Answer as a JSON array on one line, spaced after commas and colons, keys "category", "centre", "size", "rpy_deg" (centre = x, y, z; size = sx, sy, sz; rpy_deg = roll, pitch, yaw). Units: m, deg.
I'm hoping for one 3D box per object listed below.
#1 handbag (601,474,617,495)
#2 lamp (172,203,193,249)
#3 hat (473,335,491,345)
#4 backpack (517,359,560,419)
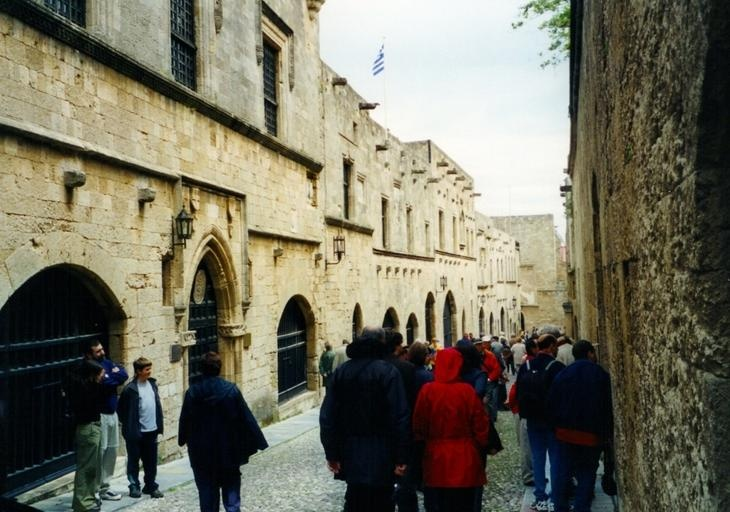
[{"category": "handbag", "centre": [2.712, 2.564, 8.687], "size": [0.160, 0.183, 0.188], "rpy_deg": [-1, -10, 3]}, {"category": "lamp", "centre": [-2.757, -0.462, 11.868], "size": [0.301, 0.664, 0.576], "rpy_deg": [-1, -8, -14]}, {"category": "hat", "centre": [2.221, 1.612, 14.624], "size": [0.372, 0.118, 0.408], "rpy_deg": [-4, 1, -29]}, {"category": "backpack", "centre": [1.894, 1.461, 8.475], "size": [0.398, 0.748, 0.491], "rpy_deg": [13, -14, -35]}]
